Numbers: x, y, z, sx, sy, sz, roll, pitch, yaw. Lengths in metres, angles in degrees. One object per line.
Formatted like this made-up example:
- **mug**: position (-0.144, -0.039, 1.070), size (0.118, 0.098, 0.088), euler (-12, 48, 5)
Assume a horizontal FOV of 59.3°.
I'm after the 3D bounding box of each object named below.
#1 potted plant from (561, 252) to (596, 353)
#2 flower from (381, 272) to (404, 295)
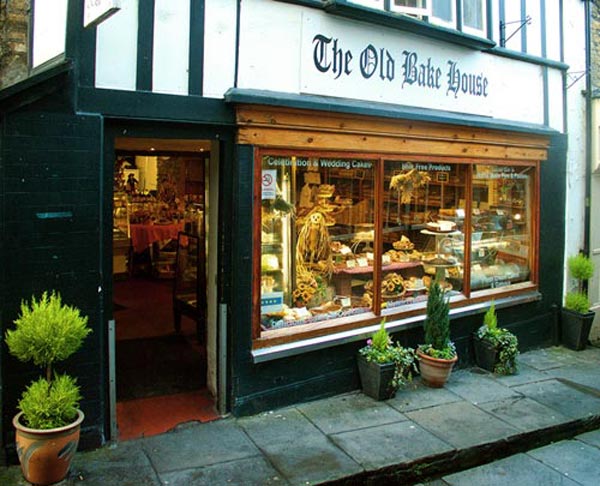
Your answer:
- **potted plant**: position (4.812, 0.996, 9.103), size (0.491, 1.589, 0.685), euler (7, 10, 28)
- **flower**: position (1.319, 0.583, 7.480), size (0.290, 0.322, 0.130), euler (-12, 6, -38)
